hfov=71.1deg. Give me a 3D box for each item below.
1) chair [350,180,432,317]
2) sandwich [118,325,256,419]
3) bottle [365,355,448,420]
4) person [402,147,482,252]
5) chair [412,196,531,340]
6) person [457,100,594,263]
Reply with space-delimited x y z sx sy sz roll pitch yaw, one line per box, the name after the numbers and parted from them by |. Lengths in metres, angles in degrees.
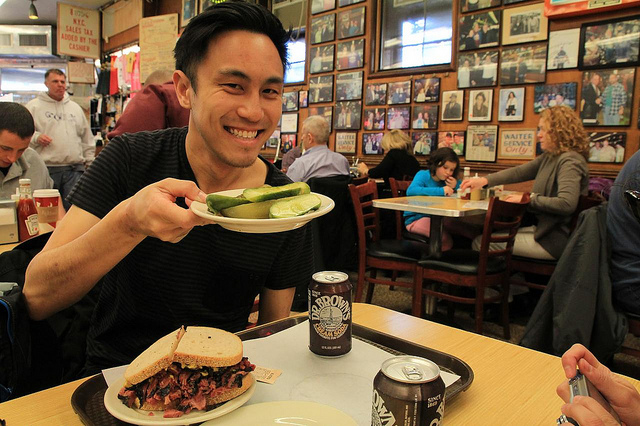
0.663 0.301 3.995 0.723 1.041 0.652 3 14 12 | chair
-0.388 0.462 1.290 0.300 0.086 0.249 -14 37 -23 | sandwich
0.226 0.489 1.189 0.198 0.204 0.118 2 11 5 | bottle
1.256 -0.003 4.799 0.929 1.352 0.696 3 5 40 | person
1.241 0.438 3.666 0.752 1.088 0.719 4 5 37 | chair
1.935 -0.185 4.342 0.838 1.639 1.231 -8 11 -37 | person
